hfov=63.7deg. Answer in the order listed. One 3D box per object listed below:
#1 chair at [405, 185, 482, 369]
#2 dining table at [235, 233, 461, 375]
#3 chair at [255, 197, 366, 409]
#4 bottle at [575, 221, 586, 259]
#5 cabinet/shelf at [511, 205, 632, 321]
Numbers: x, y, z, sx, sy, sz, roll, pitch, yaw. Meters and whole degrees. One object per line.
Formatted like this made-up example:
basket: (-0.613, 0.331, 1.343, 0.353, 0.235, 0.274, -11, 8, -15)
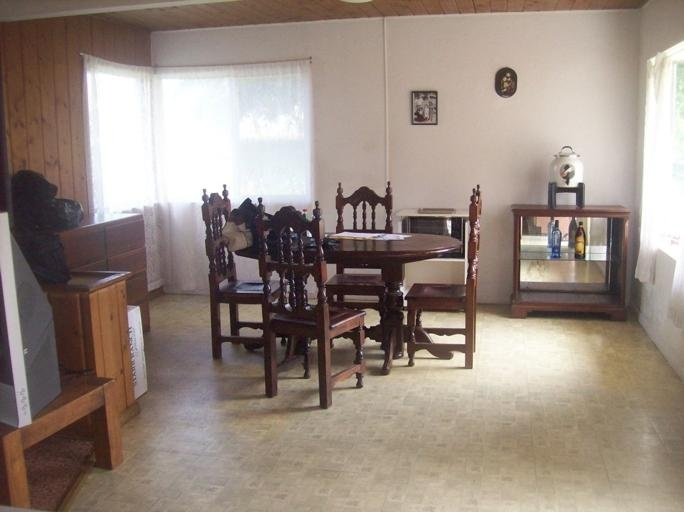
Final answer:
chair: (0.839, 0.093, 4.486, 0.539, 1.325, 1.036, 2, 13, 14)
dining table: (0.415, 0.324, 4.422, 0.929, 0.731, 0.994, -3, 1, 32)
chair: (-0.211, 0.304, 3.823, 0.676, 1.324, 0.721, -4, 10, -11)
bottle: (2.259, -0.158, 5.209, 0.106, 0.352, 0.038, 3, 13, 20)
cabinet/shelf: (2.179, 0.045, 5.206, 0.908, 0.975, 0.489, 0, 11, 9)
